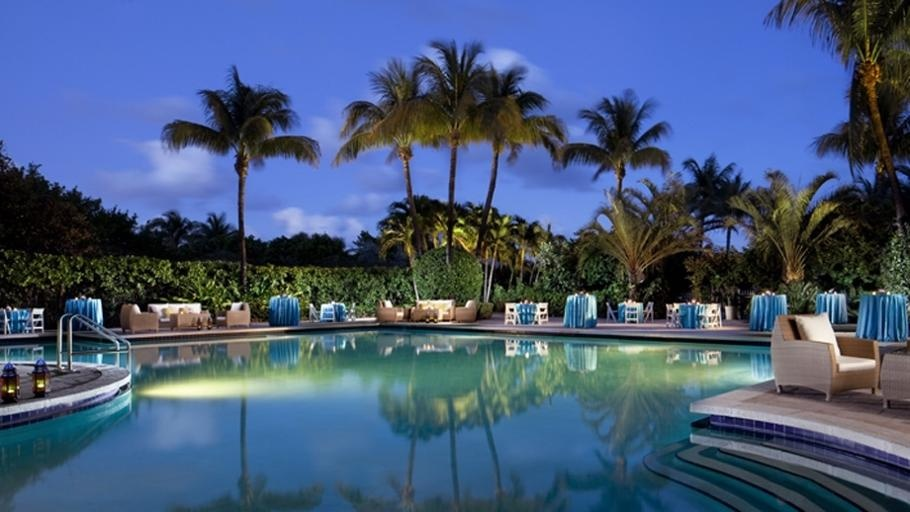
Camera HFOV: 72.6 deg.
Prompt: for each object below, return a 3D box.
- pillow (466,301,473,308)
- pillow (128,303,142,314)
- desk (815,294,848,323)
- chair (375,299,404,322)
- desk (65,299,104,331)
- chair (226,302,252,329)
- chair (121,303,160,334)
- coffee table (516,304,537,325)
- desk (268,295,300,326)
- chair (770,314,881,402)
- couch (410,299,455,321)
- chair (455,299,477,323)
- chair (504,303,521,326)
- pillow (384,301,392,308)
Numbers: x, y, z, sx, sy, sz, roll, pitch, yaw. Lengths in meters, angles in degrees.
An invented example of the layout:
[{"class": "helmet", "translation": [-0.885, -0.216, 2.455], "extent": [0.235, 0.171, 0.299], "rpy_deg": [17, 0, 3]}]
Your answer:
[{"class": "pillow", "translation": [0.615, 2.301, 29.212], "extent": [0.287, 0.285, 0.294], "rpy_deg": [3, -10, -10]}, {"class": "pillow", "translation": [-12.693, 2.119, 24.691], "extent": [0.529, 0.259, 0.743], "rpy_deg": [8, -7, -18]}, {"class": "desk", "translation": [13.743, 1.938, 22.873], "extent": [1.033, 1.014, 0.996], "rpy_deg": [0, -4, -14]}, {"class": "chair", "translation": [-3.110, 2.754, 29.726], "extent": [0.908, 0.994, 1.268], "rpy_deg": [-1, -4, 12]}, {"class": "desk", "translation": [-15.143, 2.548, 25.337], "extent": [1.277, 1.273, 1.206], "rpy_deg": [-19, -6, 35]}, {"class": "chair", "translation": [-9.543, 2.602, 26.913], "extent": [1.052, 1.196, 1.046], "rpy_deg": [8, -11, -42]}, {"class": "chair", "translation": [-12.527, 2.507, 24.685], "extent": [1.099, 1.229, 1.473], "rpy_deg": [1, -2, -36]}, {"class": "coffee table", "translation": [3.077, 2.513, 27.415], "extent": [1.161, 1.191, 0.800], "rpy_deg": [1, -1, 11]}, {"class": "desk", "translation": [-7.673, 2.512, 27.800], "extent": [1.265, 1.187, 1.211], "rpy_deg": [10, 16, 38]}, {"class": "chair", "translation": [8.999, 2.429, 15.177], "extent": [2.135, 1.684, 1.978], "rpy_deg": [-1, 2, -38]}, {"class": "couch", "translation": [-1.053, 2.597, 29.342], "extent": [1.498, 0.914, 1.145], "rpy_deg": [-2, -11, 11]}, {"class": "chair", "translation": [0.441, 2.603, 29.033], "extent": [0.921, 0.964, 1.002], "rpy_deg": [2, -9, -1]}, {"class": "chair", "translation": [2.457, 2.610, 27.726], "extent": [0.847, 1.191, 0.862], "rpy_deg": [0, -6, 0]}, {"class": "pillow", "translation": [-3.274, 2.369, 30.079], "extent": [0.325, 0.334, 0.290], "rpy_deg": [0, 2, -32]}]
